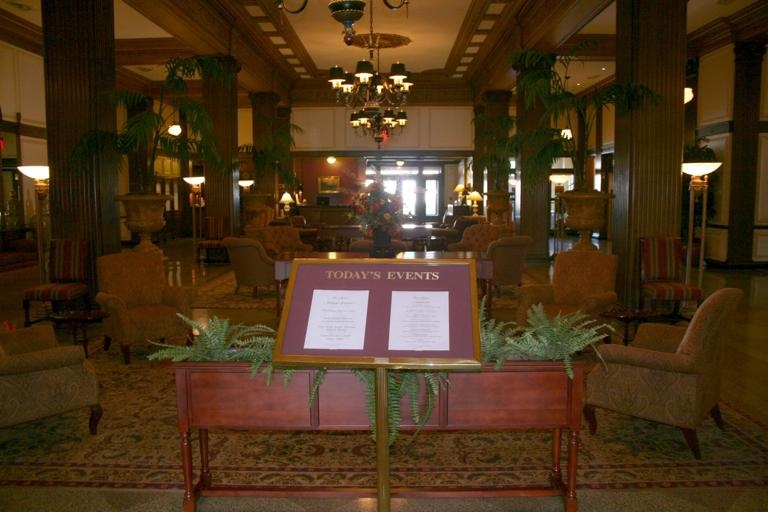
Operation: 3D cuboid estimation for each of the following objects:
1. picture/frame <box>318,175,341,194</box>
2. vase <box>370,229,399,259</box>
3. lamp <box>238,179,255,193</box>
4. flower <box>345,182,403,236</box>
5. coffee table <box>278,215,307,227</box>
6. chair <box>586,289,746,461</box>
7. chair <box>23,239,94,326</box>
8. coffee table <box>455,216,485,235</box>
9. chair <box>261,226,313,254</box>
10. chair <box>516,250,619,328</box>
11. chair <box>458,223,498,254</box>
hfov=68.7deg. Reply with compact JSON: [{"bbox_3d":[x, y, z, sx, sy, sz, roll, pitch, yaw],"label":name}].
[{"bbox_3d":[-1.796,-2.351,18.596,0.678,0.546,0.065,0,0,2],"label":"picture/frame"},{"bbox_3d":[0.012,-0.160,7.432,0.370,0.483,0.362,1,4,1],"label":"vase"},{"bbox_3d":[-3.300,-1.694,13.415,0.553,0.349,0.535,1,7,-6],"label":"lamp"},{"bbox_3d":[-0.160,-0.606,7.308,0.650,0.679,0.695,0,10,-5],"label":"flower"},{"bbox_3d":[-2.205,-0.831,13.686,0.574,0.254,1.095,0,5,13],"label":"coffee table"},{"bbox_3d":[2.330,0.927,5.135,1.419,1.613,1.297,5,8,37],"label":"chair"},{"bbox_3d":[-4.068,0.279,7.029,0.716,0.952,1.132,-3,5,-24],"label":"chair"},{"bbox_3d":[1.839,-0.723,12.164,0.502,0.442,0.466,2,16,7],"label":"coffee table"},{"bbox_3d":[-1.651,-0.279,9.703,0.661,0.759,0.667,0,1,-39],"label":"chair"},{"bbox_3d":[1.951,0.275,6.332,0.974,1.110,0.991,4,1,-44],"label":"chair"},{"bbox_3d":[1.611,-0.297,9.564,0.494,0.605,0.564,5,4,30],"label":"chair"}]
